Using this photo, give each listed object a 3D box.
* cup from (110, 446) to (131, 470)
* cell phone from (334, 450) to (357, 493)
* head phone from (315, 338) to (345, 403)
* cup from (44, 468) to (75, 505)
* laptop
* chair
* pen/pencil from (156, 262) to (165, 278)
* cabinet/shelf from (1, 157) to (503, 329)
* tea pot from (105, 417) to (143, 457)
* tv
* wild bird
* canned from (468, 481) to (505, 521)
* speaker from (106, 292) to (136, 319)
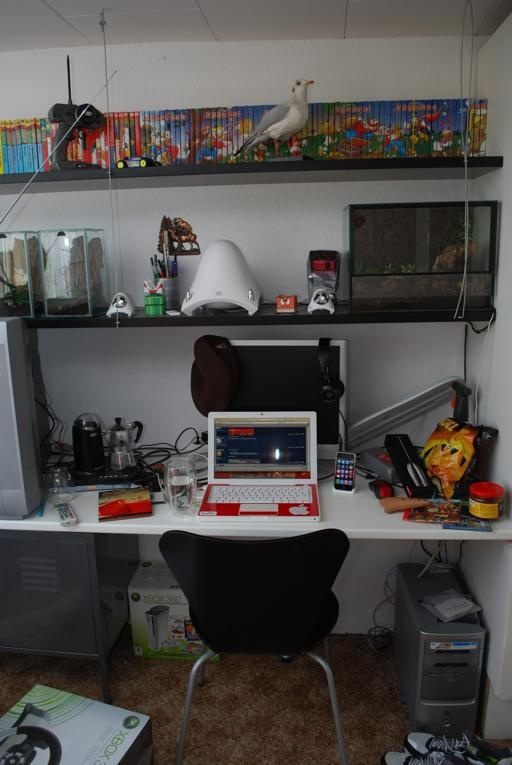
[{"bbox_3d":[-0.431,0.244,1.864,0.077,0.086,0.050,-1,-1,20],"label":"cup"},{"bbox_3d":[0.255,0.260,1.728,0.082,0.107,0.060,8,17,36],"label":"cell phone"},{"bbox_3d":[0.230,-0.039,1.817,0.067,0.229,0.179,-3,-4,12],"label":"head phone"},{"bbox_3d":[-0.608,0.311,1.812,0.071,0.037,0.122,0,25,-12],"label":"cup"},{"bbox_3d":[0.012,0.228,1.679,0.358,0.233,0.343,1,9,15],"label":"laptop"},{"bbox_3d":[-0.008,0.720,1.560,0.475,0.750,0.511,-1,26,3],"label":"chair"},{"bbox_3d":[-0.306,-0.356,1.885,0.016,0.066,0.016,-6,10,13],"label":"pen/pencil"},{"bbox_3d":[-0.065,-0.420,1.806,1.496,0.450,0.356,-1,14,6],"label":"cabinet/shelf"},{"bbox_3d":[-0.425,0.170,1.943,0.158,0.134,0.077,0,0,-29],"label":"tea pot"},{"bbox_3d":[0.076,0.123,2.046,0.500,0.514,0.368,-1,4,3],"label":"tv"},{"bbox_3d":[0.058,-0.739,1.672,0.257,0.184,0.092,-1,15,29],"label":"wild bird"},{"bbox_3d":[0.583,0.304,1.491,0.084,0.088,0.087,-2,4,-6],"label":"canned"},{"bbox_3d":[-0.404,-0.226,1.760,0.060,0.059,0.090,-1,7,-8],"label":"speaker"}]
